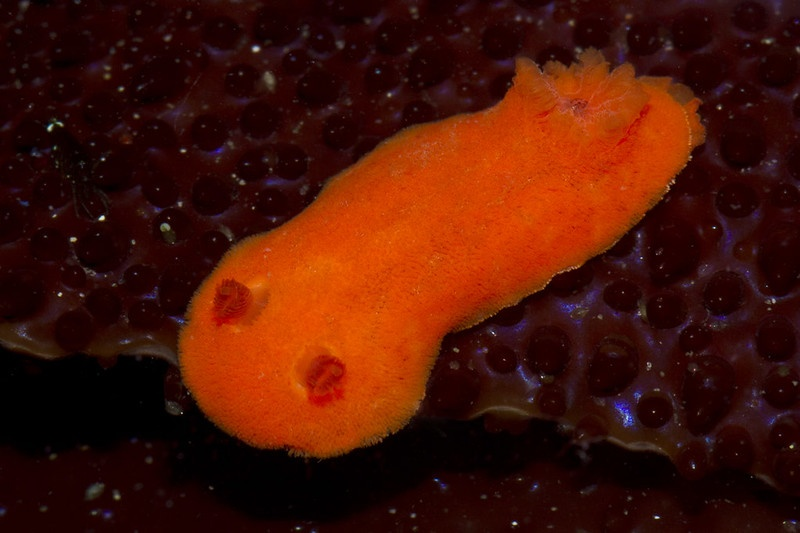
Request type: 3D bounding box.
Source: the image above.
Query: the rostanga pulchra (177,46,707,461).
[{"bbox_3d":[0.158,-0.092,5.607,3.525,0.601,1.682,-37,77,2],"label":"rostanga pulchra"}]
